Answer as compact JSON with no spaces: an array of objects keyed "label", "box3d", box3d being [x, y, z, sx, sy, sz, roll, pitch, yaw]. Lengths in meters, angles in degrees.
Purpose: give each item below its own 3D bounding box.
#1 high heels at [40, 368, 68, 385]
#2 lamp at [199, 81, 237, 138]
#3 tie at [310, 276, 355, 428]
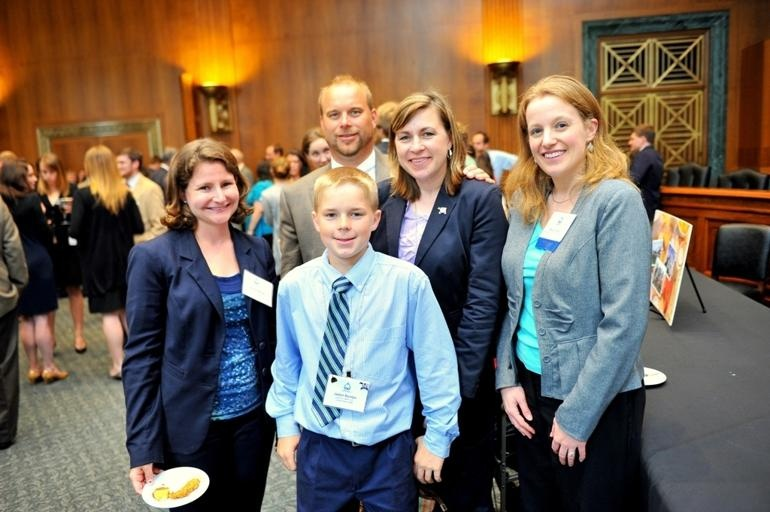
[{"label":"high heels","box3d":[-3.159,1.134,5.800,0.115,0.101,0.230,2,10,9]},{"label":"lamp","box3d":[-2.876,-2.445,10.132,0.493,0.763,0.510,5,15,17]},{"label":"tie","box3d":[-0.261,0.474,3.054,0.130,0.716,0.268,6,16,41]}]
